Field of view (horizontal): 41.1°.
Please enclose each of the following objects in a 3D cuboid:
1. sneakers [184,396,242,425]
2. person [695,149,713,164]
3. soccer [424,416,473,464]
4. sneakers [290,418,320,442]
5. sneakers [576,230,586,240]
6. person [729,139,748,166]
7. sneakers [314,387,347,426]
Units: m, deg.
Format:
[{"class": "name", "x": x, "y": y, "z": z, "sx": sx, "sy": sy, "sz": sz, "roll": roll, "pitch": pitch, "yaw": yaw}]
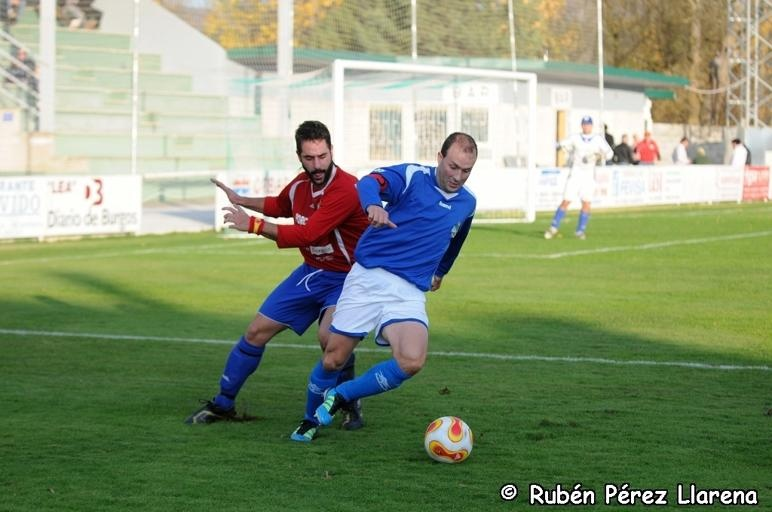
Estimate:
[{"class": "sneakers", "x": -1.670, "y": 1.534, "z": 9.955, "sx": 0.543, "sy": 0.205, "sz": 0.194, "roll": 1, "pitch": -5, "yaw": -12}, {"class": "person", "x": 9.288, "y": -2.926, "z": 30.267, "sx": 0.376, "sy": 0.547, "sz": 1.793, "roll": 3, "pitch": 3, "yaw": 16}, {"class": "soccer", "x": 0.586, "y": 1.636, "z": 9.385, "sx": 0.405, "sy": 0.322, "sz": 0.415, "roll": 12, "pitch": 7, "yaw": 11}, {"class": "sneakers", "x": -0.749, "y": 1.643, "z": 9.578, "sx": 0.147, "sy": 0.133, "sz": 0.300, "roll": -1, "pitch": -6, "yaw": 8}, {"class": "sneakers", "x": 3.561, "y": -0.365, "z": 18.723, "sx": 0.126, "sy": 0.120, "sz": 0.291, "roll": 2, "pitch": 5, "yaw": 14}, {"class": "person", "x": 10.007, "y": -2.871, "z": 29.065, "sx": 0.383, "sy": 0.752, "sz": 0.573, "roll": 4, "pitch": 3, "yaw": 19}, {"class": "sneakers", "x": -0.493, "y": 1.407, "z": 9.576, "sx": 0.277, "sy": 0.320, "sz": 0.144, "roll": 2, "pitch": 3, "yaw": -3}]
